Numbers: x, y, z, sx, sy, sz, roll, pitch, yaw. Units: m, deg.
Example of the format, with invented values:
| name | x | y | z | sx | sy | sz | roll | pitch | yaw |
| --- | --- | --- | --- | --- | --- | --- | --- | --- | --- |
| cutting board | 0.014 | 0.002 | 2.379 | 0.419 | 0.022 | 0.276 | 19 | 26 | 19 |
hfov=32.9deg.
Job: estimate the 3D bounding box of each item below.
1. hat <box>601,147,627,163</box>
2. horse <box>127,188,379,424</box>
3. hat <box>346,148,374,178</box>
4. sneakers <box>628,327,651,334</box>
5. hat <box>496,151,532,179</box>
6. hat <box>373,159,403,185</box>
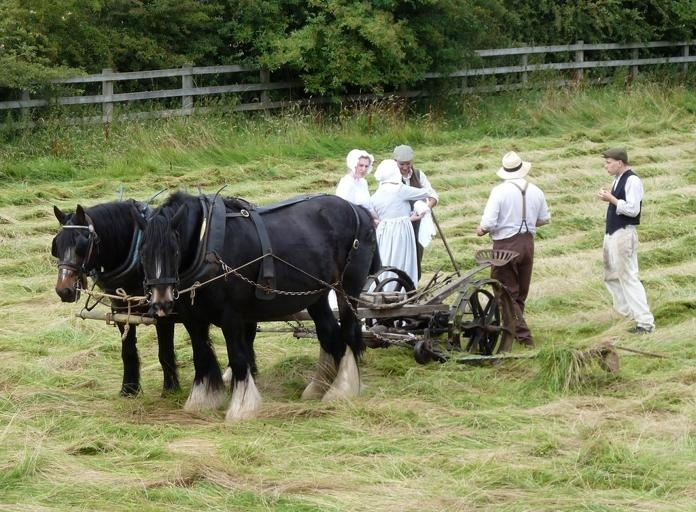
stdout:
| name | x | y | z | sx | sy | sz | roll | pitch | yaw |
| --- | --- | --- | --- | --- | --- | --- | --- | --- | --- |
| hat | 3.307 | -1.288 | 14.564 | 0.309 | 0.150 | 0.209 | 11 | 1 | 2 |
| horse | -0.981 | 0.467 | 12.919 | 3.416 | 2.227 | 1.252 | -3 | 0 | -43 |
| hat | 0.182 | -1.125 | 14.097 | 0.321 | 0.378 | 0.357 | -1 | 23 | -15 |
| sneakers | 3.474 | 0.888 | 14.075 | 0.273 | 0.103 | 0.095 | 3 | 0 | 23 |
| hat | 2.009 | -1.097 | 14.232 | 0.474 | 0.248 | 0.486 | -17 | 24 | 17 |
| hat | 0.503 | -1.019 | 14.222 | 0.349 | 0.288 | 0.300 | -3 | 6 | -12 |
